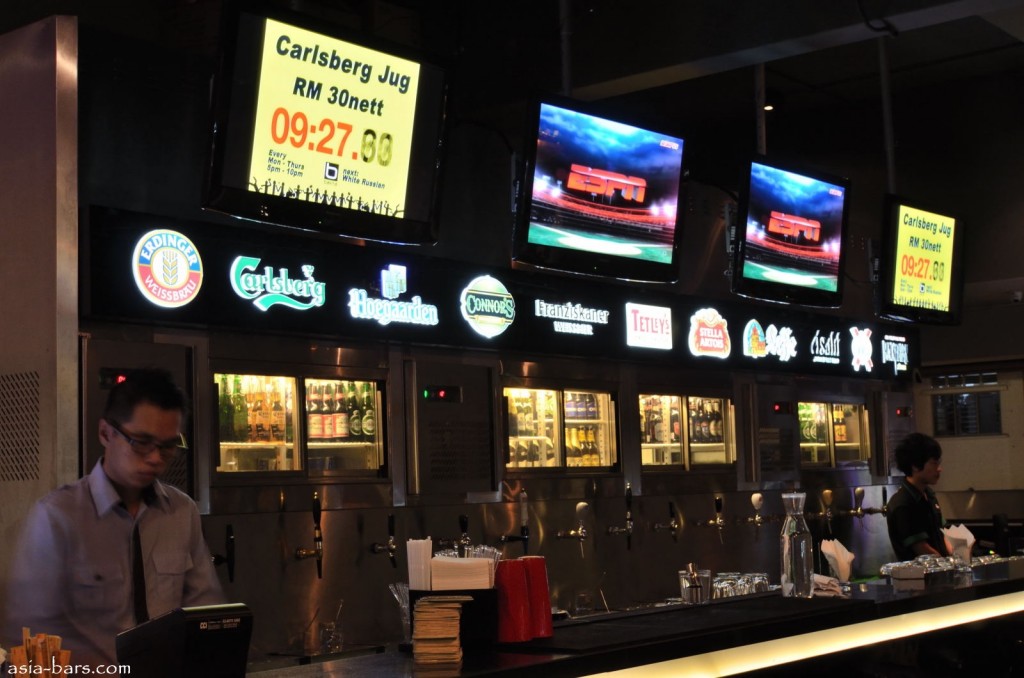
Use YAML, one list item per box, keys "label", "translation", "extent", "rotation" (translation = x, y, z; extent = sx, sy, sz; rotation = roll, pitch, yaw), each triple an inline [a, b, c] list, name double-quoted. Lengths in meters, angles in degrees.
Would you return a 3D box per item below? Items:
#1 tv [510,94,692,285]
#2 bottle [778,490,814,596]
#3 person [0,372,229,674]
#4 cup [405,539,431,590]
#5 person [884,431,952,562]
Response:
- label: "tv"
  translation: [0.490, -0.876, 5.488]
  extent: [1.337, 1.112, 0.175]
  rotation: [6, 2, -28]
- label: "bottle"
  translation: [1.428, 1.042, 4.594]
  extent: [0.156, 0.510, 0.324]
  rotation: [-3, -8, 15]
- label: "person"
  translation: [-1.432, 0.655, 3.338]
  extent: [0.735, 1.043, 0.388]
  rotation: [3, -9, -24]
- label: "cup"
  translation: [-0.374, 0.901, 3.632]
  extent: [0.089, 0.192, 0.187]
  rotation: [0, -8, -5]
- label: "person"
  translation: [2.701, 1.066, 6.109]
  extent: [0.356, 0.854, 0.606]
  rotation: [-5, -9, 24]
